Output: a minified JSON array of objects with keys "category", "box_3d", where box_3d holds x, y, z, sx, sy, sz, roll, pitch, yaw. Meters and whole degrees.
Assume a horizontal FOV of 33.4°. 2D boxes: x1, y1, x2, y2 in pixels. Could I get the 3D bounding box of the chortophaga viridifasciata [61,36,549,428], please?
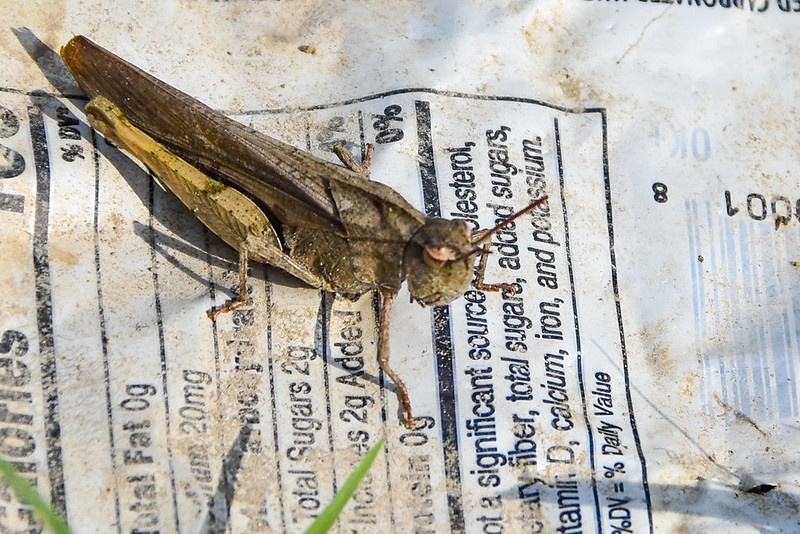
[{"category":"chortophaga viridifasciata","box_3d":[-0.572,-0.186,5.489,1.984,0.739,1.064,27,56,12]}]
